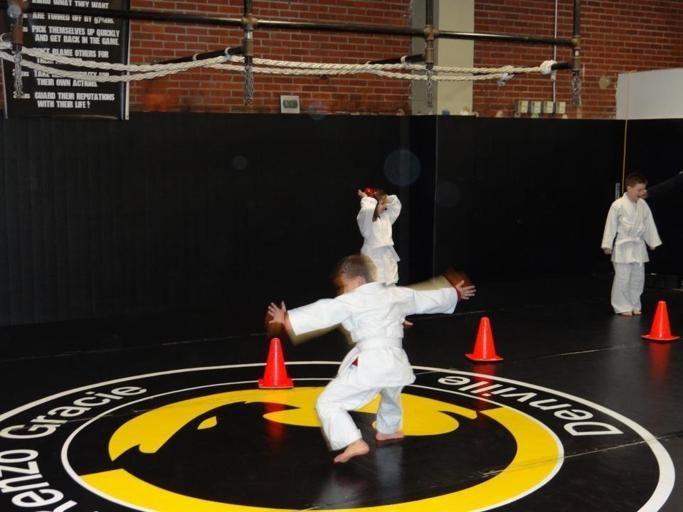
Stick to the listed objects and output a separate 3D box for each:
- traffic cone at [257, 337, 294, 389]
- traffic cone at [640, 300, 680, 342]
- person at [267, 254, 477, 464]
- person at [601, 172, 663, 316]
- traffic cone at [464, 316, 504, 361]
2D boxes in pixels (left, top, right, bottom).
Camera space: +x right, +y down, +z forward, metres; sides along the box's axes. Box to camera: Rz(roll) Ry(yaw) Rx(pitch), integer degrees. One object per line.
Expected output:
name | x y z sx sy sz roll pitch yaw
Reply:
traffic cone | -0.625 1.026 5.991 0.372 0.450 0.370 0 -3 -23
traffic cone | 3.819 0.762 7.525 0.448 0.507 0.447 -3 1 -21
person | 0.301 0.746 4.700 1.543 1.390 0.827 -4 10 -32
person | 3.953 -0.152 8.514 0.801 1.904 0.373 -2 7 -17
traffic cone | 1.559 0.903 6.790 0.418 0.450 0.425 2 1 -3
